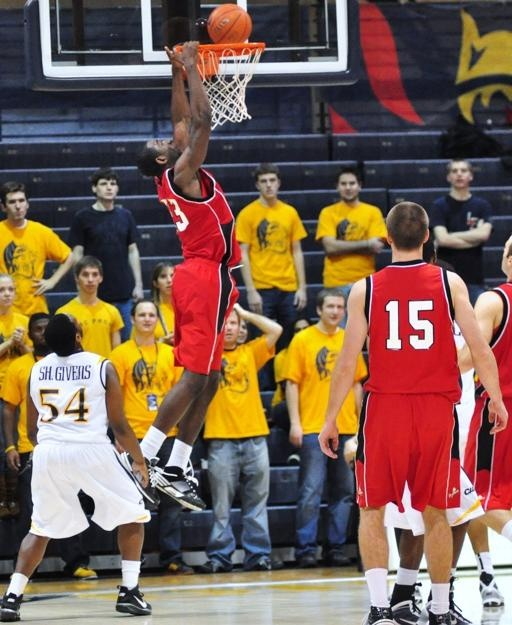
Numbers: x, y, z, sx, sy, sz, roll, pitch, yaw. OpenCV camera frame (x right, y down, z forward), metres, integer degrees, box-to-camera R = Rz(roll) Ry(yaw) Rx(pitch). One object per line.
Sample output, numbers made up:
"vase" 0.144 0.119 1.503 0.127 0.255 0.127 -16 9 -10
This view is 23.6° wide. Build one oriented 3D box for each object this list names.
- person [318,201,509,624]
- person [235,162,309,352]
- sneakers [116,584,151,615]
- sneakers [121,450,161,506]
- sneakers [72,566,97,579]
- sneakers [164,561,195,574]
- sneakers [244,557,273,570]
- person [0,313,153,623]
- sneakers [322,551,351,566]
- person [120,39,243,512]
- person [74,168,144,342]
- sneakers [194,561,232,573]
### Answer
"person" 0.699 0.451 5.516 0.811 1.529 0.337 -2 -1 2
"person" 0.147 -0.219 9.441 0.597 1.841 0.521 -4 0 -12
"sneakers" -0.640 1.476 6.259 0.217 0.145 0.096 11 -16 -18
"sneakers" -0.615 0.869 6.412 0.124 0.322 0.105 -14 24 34
"sneakers" -1.117 1.699 7.961 0.151 0.067 0.067 2 4 -1
"sneakers" -0.501 1.670 7.976 0.185 0.076 0.074 -2 -5 14
"sneakers" 0.008 1.651 7.968 0.122 0.055 0.097 -7 -7 -2
"person" -0.952 0.787 6.366 0.764 1.028 0.384 -2 -1 -6
"sneakers" 0.533 1.649 8.133 0.079 0.086 0.193 3 -10 -37
"person" -0.378 -0.190 6.527 0.531 1.764 0.645 -2 -1 7
"person" -1.094 -0.223 9.084 0.525 1.692 0.438 -3 5 1
"sneakers" -0.287 1.683 7.983 0.230 0.094 0.084 7 -19 -7
